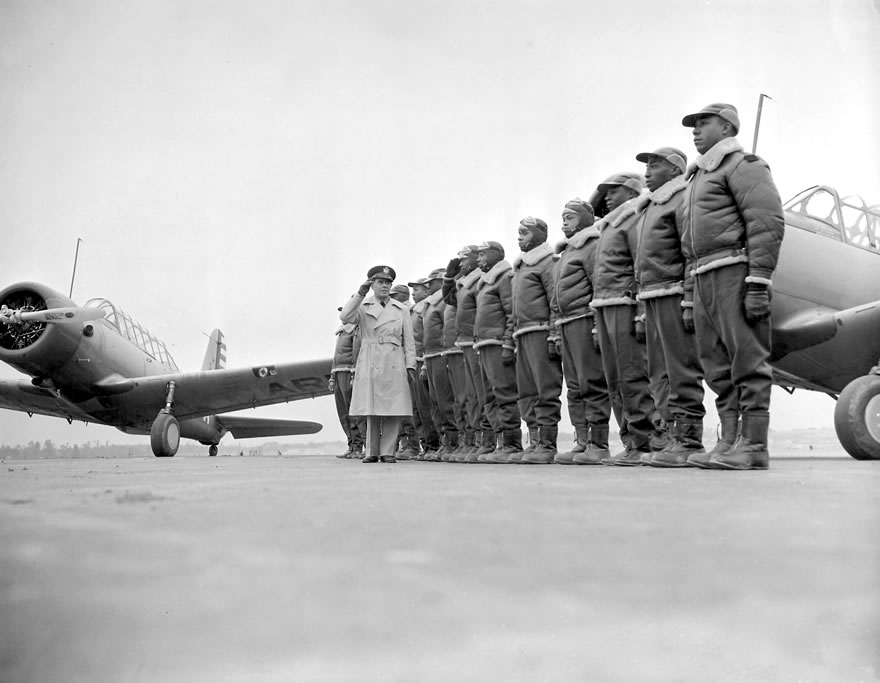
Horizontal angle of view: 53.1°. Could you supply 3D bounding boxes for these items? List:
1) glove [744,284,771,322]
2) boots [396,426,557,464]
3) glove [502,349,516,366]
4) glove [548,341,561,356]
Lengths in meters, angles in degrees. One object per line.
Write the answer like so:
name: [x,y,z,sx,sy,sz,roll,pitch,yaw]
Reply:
glove: [2.025,-0.245,5.632,0.153,0.236,0.130,-2,-4,18]
boots: [0.528,1.037,8.548,1.117,0.451,0.343,3,-15,-2]
glove: [0.704,0.166,9.129,0.155,0.142,0.154,0,-4,3]
glove: [1.080,0.063,8.310,0.102,0.131,0.136,3,-4,11]
